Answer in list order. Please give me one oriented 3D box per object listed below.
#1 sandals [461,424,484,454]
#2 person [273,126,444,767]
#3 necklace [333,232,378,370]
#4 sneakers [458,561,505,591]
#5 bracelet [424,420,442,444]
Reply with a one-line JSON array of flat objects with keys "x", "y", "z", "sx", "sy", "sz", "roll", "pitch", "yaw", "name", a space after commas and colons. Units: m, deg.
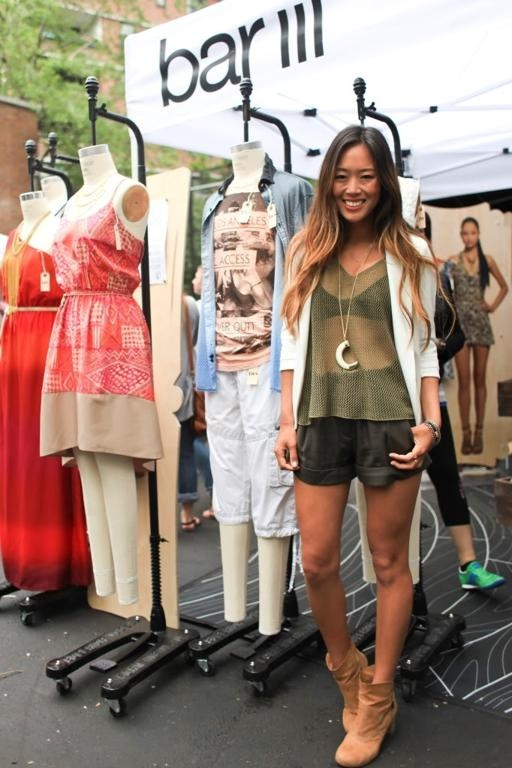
[{"x": 1.765, "y": 0.448, "z": 5.372, "sx": 0.141, "sy": 0.238, "sz": 0.091, "roll": 2, "pitch": 6, "yaw": 23, "name": "sandals"}, {"x": 0.252, "y": 0.167, "z": 1.667, "sx": 0.427, "sy": 1.596, "sz": 0.273, "roll": -2, "pitch": 3, "yaw": 14, "name": "person"}, {"x": 0.224, "y": -0.172, "z": 1.618, "sx": 0.063, "sy": 0.274, "sz": 0.079, "roll": -2, "pitch": 3, "yaw": 18, "name": "necklace"}, {"x": 0.945, "y": 0.830, "z": 2.866, "sx": 0.094, "sy": 0.119, "sz": 0.237, "roll": -2, "pitch": -6, "yaw": -40, "name": "sneakers"}, {"x": 0.440, "y": 0.122, "z": 1.609, "sx": 0.022, "sy": 0.045, "sz": 0.054, "roll": -8, "pitch": -39, "yaw": 24, "name": "bracelet"}]
